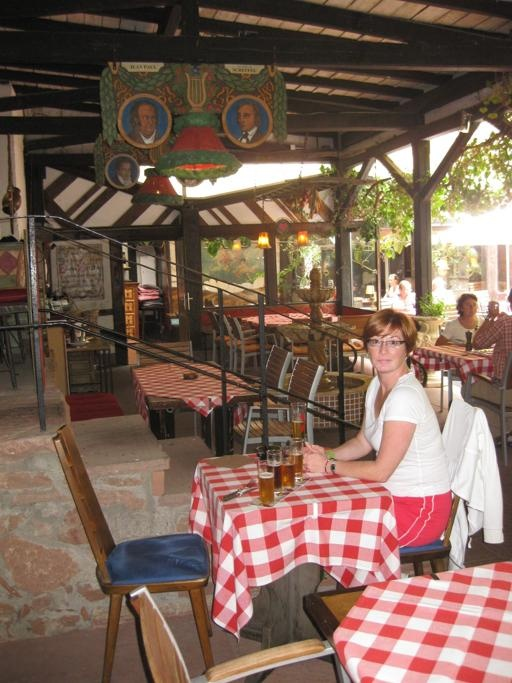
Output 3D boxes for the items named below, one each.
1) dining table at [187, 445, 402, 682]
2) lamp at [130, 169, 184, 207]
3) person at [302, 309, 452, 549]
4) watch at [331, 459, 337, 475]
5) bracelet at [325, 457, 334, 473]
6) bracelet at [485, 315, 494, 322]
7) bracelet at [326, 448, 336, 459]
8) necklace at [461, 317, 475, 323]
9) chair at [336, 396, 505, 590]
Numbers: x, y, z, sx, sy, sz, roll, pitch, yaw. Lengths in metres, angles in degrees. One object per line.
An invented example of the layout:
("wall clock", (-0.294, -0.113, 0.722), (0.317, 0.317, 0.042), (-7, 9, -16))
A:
("dining table", (0.097, 0.677, 1.997), (0.630, 0.351, 0.615), (-3, 19, -14))
("lamp", (-0.837, -1.340, 4.903), (0.521, 0.342, 0.507), (-1, 8, -15))
("person", (0.434, 0.431, 2.179), (0.611, 1.025, 0.423), (1, 6, -2))
("watch", (0.288, 0.474, 2.115), (0.027, 0.041, 0.040), (4, 2, 7))
("bracelet", (0.274, 0.471, 2.125), (0.030, 0.046, 0.045), (3, -5, 6))
("bracelet", (2.219, -0.216, 5.390), (0.013, 0.049, 0.052), (20, -18, -32))
("bracelet", (0.298, 0.450, 2.260), (0.033, 0.034, 0.032), (2, -1, 11))
("necklace", (2.133, -0.216, 5.696), (0.080, 0.046, 0.056), (9, 12, 35))
("chair", (0.686, 0.378, 2.688), (0.502, 1.344, 0.943), (-3, 4, 1))
